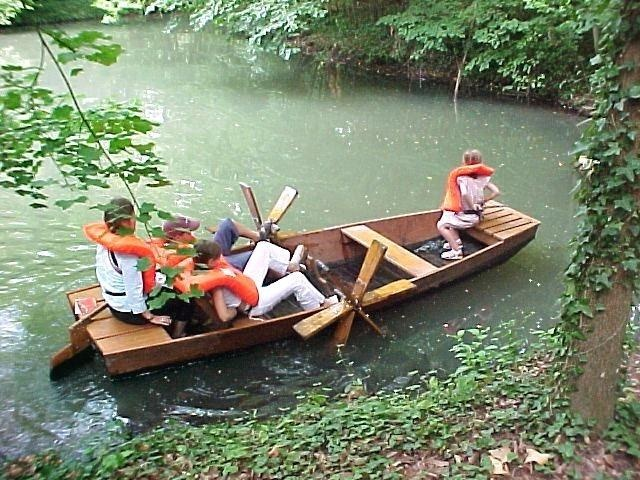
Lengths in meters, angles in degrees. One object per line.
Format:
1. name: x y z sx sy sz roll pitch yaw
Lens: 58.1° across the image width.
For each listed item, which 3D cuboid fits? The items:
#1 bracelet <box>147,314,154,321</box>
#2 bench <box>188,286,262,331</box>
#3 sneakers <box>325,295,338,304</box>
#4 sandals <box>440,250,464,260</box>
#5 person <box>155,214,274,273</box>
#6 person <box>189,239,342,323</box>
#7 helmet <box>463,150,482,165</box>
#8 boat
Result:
1. bracelet: -1.672 0.874 5.708 0.066 0.045 0.055 -12 68 -41
2. bench: -1.074 0.801 5.916 0.563 0.629 0.146 -47 26 -4
3. sneakers: 0.138 0.748 6.280 0.118 0.110 0.106 31 29 -11
4. sandals: 1.768 0.214 7.638 0.306 0.104 0.110 2 44 6
5. person: -1.126 -0.076 6.372 1.099 0.226 0.571 24 23 0
6. person: -0.638 0.482 6.197 1.955 0.520 0.814 -3 38 -20
7. helmet: 2.027 -1.250 7.595 0.216 0.216 0.234 6 21 19
8. boat: 0.118 0.748 6.998 5.772 1.317 2.285 -11 38 -23
